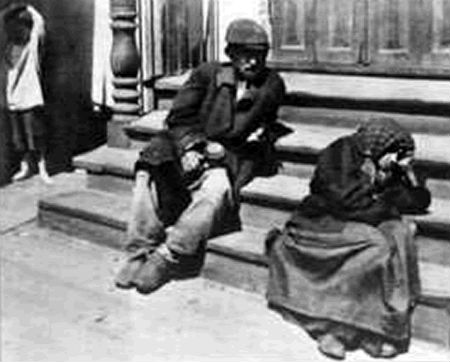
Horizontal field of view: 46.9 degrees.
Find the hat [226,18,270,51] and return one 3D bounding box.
[{"bbox_3d":[0.149,-0.922,3.272,0.178,0.124,0.244,-5,17,-24],"label":"hat"}]

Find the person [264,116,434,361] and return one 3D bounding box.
[{"bbox_3d":[0.692,0.321,2.985,0.863,1.342,0.363,5,11,22],"label":"person"}]

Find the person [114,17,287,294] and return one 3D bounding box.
[{"bbox_3d":[-0.147,-0.132,3.444,1.080,1.809,0.362,4,11,15],"label":"person"}]
